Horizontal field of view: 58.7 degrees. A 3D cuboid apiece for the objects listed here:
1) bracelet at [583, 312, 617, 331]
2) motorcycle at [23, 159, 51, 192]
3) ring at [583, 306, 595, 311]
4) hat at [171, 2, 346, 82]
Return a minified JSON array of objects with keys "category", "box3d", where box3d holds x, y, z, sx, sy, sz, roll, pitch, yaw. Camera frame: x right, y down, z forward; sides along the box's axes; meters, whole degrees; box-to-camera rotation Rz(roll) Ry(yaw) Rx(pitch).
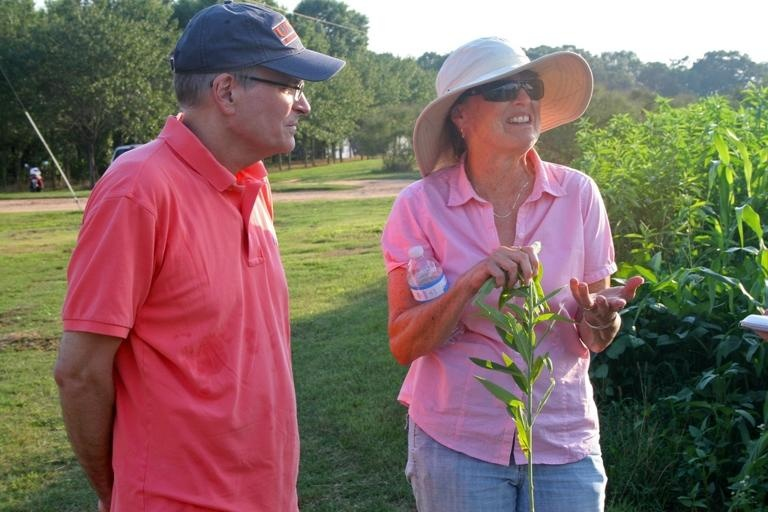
[{"category":"bracelet","box3d":[1.147,0.342,3.610,0.198,0.104,0.109,2,1,1]},{"category":"motorcycle","box3d":[-18.942,-4.437,37.489,1.281,1.536,2.424,-8,15,-9]},{"category":"ring","box3d":[1.056,0.276,3.551,0.047,0.022,0.052,2,1,24]},{"category":"hat","box3d":[-0.683,-1.100,3.637,0.719,0.341,0.500,-2,15,-11]}]
